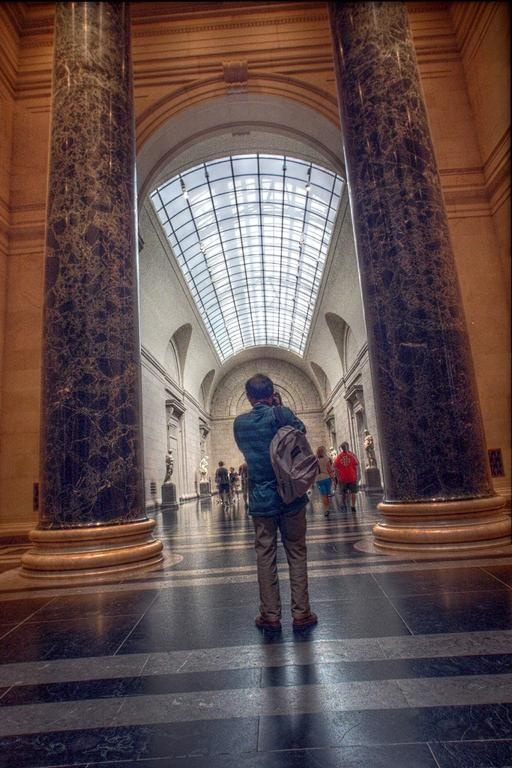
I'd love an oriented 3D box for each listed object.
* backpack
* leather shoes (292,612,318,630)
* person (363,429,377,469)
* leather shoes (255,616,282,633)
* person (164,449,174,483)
[{"bbox_3d":[0.254,0.457,3.017,0.265,0.492,0.476,-14,12,-12],"label":"backpack"},{"bbox_3d":[0.294,1.405,2.796,0.166,0.065,0.159,-2,-11,-9],"label":"leather shoes"},{"bbox_3d":[4.530,2.558,18.842,0.407,1.587,1.632,-5,-10,13],"label":"person"},{"bbox_3d":[0.051,1.422,2.798,0.196,0.069,0.134,-10,-12,27],"label":"leather shoes"},{"bbox_3d":[-3.743,3.466,20.024,0.334,1.341,1.851,-2,-11,-9],"label":"person"}]
